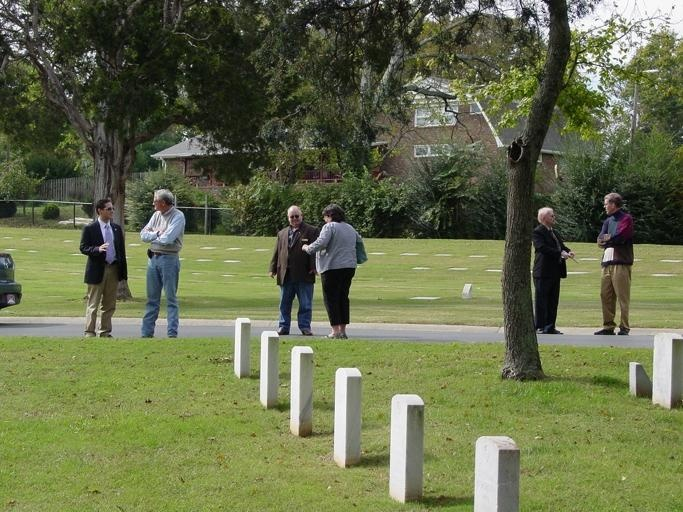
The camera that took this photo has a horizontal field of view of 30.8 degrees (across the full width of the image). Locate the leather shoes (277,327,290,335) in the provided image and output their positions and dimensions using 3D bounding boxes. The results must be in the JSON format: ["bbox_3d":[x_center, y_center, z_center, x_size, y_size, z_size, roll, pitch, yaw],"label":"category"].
[{"bbox_3d":[-1.132,1.475,24.125,0.282,0.220,0.099,7,-5,-10],"label":"leather shoes"}]

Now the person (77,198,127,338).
[{"bbox_3d":[-4.532,0.231,23.597,0.850,2.617,0.597,1,1,-17],"label":"person"}]

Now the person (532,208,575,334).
[{"bbox_3d":[4.086,0.304,24.373,0.636,1.919,0.466,2,1,5],"label":"person"}]

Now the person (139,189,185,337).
[{"bbox_3d":[-3.426,0.140,23.631,0.775,2.849,1.223,1,1,-9],"label":"person"}]

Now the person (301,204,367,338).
[{"bbox_3d":[-0.114,0.294,23.417,1.141,1.706,0.923,1,1,-15],"label":"person"}]

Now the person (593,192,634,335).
[{"bbox_3d":[5.333,0.155,24.238,0.680,2.257,0.732,2,1,12],"label":"person"}]
